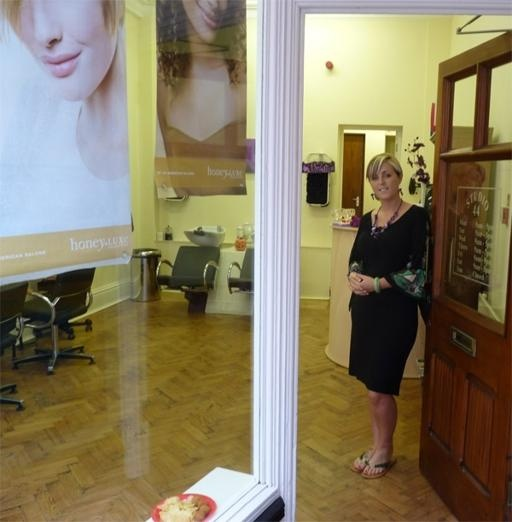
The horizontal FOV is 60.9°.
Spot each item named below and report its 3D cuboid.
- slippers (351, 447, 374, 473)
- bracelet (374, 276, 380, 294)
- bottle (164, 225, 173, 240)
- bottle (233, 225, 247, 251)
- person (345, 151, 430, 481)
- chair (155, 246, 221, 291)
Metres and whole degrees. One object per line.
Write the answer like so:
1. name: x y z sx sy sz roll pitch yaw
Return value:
1. slippers: 0.534 1.002 2.179 0.036 0.156 0.062 9 39 -13
2. bracelet: 0.564 0.115 2.026 0.026 0.069 0.017 1 6 16
3. bottle: -0.213 -0.068 1.061 0.021 0.038 0.009 -2 6 -17
4. bottle: -0.044 -0.063 1.233 0.044 0.068 0.009 -6 8 -44
5. person: 0.634 0.270 2.137 0.365 1.581 0.309 1 6 17
6. chair: -0.169 0.014 1.105 0.140 0.133 0.182 2 -1 -5
